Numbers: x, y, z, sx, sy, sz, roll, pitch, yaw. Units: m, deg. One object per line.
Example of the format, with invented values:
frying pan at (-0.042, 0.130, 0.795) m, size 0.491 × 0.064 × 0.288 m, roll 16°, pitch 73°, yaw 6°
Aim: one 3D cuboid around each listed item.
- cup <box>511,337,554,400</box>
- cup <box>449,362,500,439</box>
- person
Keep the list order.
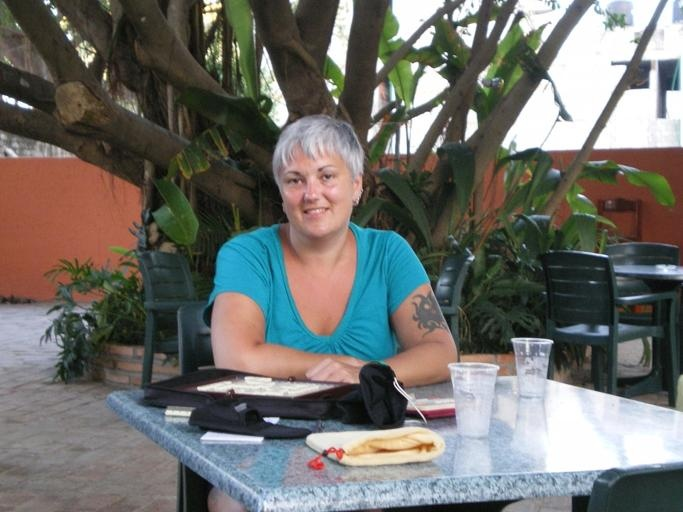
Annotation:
cup at (0.576, 0.336, 1.744) m, size 0.144 × 0.188 × 0.163 m, roll 6°, pitch -9°, yaw -20°
cup at (0.288, 0.344, 1.410) m, size 0.138 × 0.174 × 0.151 m, roll 0°, pitch 0°, yaw 0°
person at (0.204, 0.204, 2.396) m, size 1.019 × 1.646 × 1.142 m, roll 1°, pitch -6°, yaw -15°
